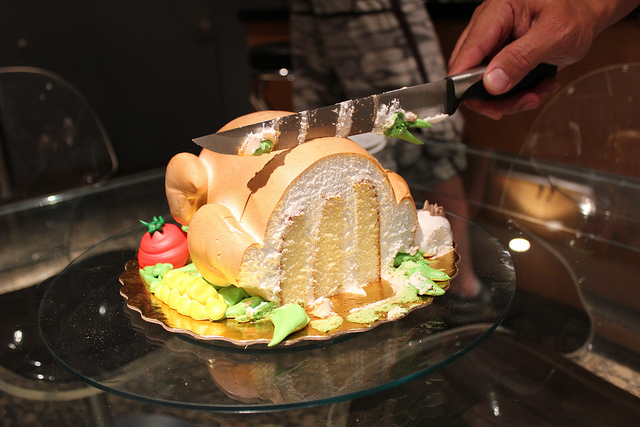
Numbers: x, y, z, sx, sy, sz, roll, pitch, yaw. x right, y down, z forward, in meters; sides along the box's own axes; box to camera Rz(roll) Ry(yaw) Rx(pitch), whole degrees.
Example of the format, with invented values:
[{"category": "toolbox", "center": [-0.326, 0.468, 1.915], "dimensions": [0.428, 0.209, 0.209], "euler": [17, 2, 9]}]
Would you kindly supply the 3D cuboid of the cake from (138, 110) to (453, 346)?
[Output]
[{"category": "cake", "center": [-0.076, 0.053, 1.609], "dimensions": [0.655, 0.259, 0.697], "euler": [-26, 38, -34]}]
